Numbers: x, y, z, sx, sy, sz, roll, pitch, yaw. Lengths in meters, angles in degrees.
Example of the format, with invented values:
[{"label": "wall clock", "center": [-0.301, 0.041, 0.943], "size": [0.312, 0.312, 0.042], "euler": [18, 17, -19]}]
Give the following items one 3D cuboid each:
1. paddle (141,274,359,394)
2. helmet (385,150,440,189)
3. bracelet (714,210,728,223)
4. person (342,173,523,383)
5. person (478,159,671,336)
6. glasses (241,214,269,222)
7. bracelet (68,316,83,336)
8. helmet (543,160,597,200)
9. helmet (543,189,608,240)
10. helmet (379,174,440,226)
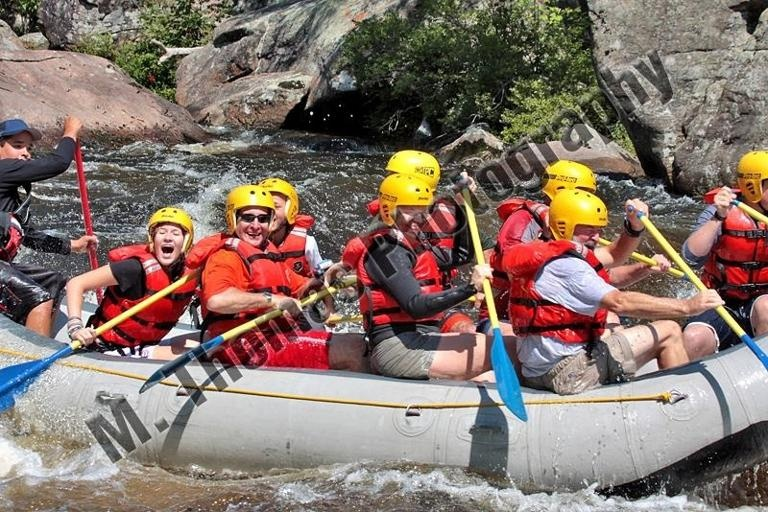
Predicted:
[{"label": "paddle", "center": [-1.165, 0.672, 6.602], "size": [1.736, 0.084, 0.245], "euler": [-27, 32, -14]}, {"label": "helmet", "center": [0.274, -0.756, 6.823], "size": [0.441, 0.327, 0.307], "euler": [-1, 22, -21]}, {"label": "bracelet", "center": [2.879, -0.336, 6.679], "size": [0.086, 0.030, 0.085], "euler": [32, 1, -6]}, {"label": "person", "center": [0.336, 0.273, 6.486], "size": [1.400, 1.830, 1.184], "euler": [-2, 7, 0]}, {"label": "person", "center": [1.583, 0.043, 6.852], "size": [1.369, 1.796, 0.996], "euler": [-14, -27, 41]}, {"label": "glasses", "center": [-1.085, -0.315, 6.594], "size": [0.115, 0.032, 0.113], "euler": [2, -20, -14]}, {"label": "bracelet", "center": [-2.644, 0.608, 6.706], "size": [0.136, 0.151, 0.132], "euler": [-3, 54, -17]}, {"label": "helmet", "center": [1.626, -0.671, 6.964], "size": [0.423, 0.320, 0.314], "euler": [30, 7, 14]}, {"label": "helmet", "center": [1.517, -0.303, 6.151], "size": [0.485, 0.386, 0.395], "euler": [17, 17, 39]}, {"label": "helmet", "center": [0.175, -0.445, 6.338], "size": [0.444, 0.348, 0.343], "euler": [7, 14, 39]}]
